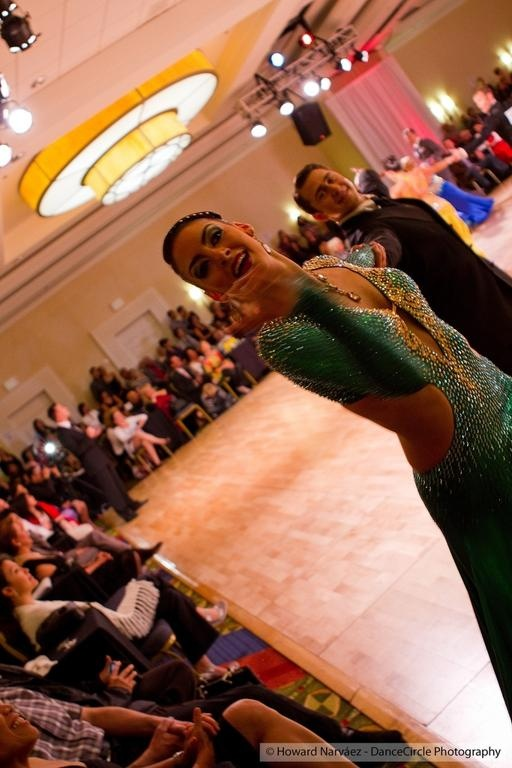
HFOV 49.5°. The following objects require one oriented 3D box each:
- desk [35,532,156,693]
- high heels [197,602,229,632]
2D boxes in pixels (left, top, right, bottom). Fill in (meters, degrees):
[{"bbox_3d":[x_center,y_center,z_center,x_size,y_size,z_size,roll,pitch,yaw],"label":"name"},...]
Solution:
[{"bbox_3d":[-0.860,1.278,2.869,0.583,0.188,0.460,1,15,36],"label":"desk"},{"bbox_3d":[-0.238,1.361,3.221,0.224,0.075,0.082,14,43,32],"label":"high heels"}]
